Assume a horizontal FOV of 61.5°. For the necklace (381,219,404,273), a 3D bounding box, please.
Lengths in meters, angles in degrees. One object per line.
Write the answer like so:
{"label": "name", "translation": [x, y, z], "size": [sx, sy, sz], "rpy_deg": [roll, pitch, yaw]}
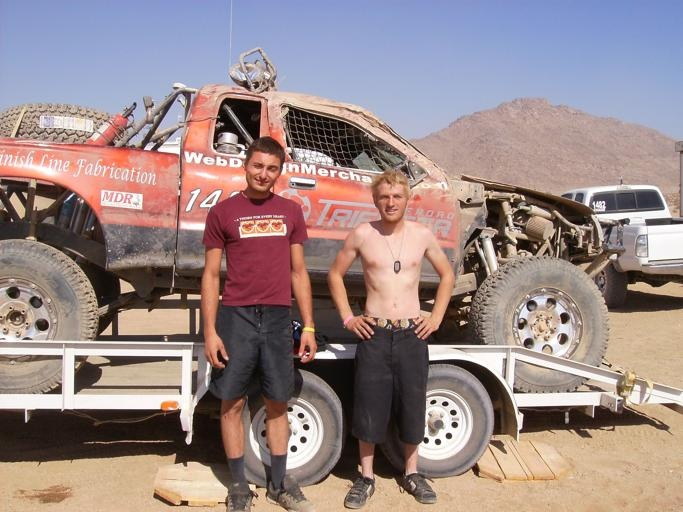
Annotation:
{"label": "necklace", "translation": [0.418, -0.020, 4.495], "size": [0.150, 0.312, 0.121], "rpy_deg": [0, 8, 0]}

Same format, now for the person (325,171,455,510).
{"label": "person", "translation": [0.395, 0.647, 4.521], "size": [0.992, 2.626, 0.507], "rpy_deg": [0, 9, -1]}

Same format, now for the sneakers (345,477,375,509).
{"label": "sneakers", "translation": [0.147, 1.878, 4.558], "size": [0.132, 0.123, 0.329], "rpy_deg": [9, -2, 18]}

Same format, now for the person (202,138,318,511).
{"label": "person", "translation": [-0.633, 0.539, 4.385], "size": [0.840, 2.851, 0.485], "rpy_deg": [0, 9, -4]}

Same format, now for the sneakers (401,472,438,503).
{"label": "sneakers", "translation": [0.632, 1.869, 4.644], "size": [0.129, 0.114, 0.329], "rpy_deg": [0, -1, -27]}

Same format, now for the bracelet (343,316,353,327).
{"label": "bracelet", "translation": [0.070, 0.511, 4.522], "size": [0.085, 0.025, 0.086], "rpy_deg": [-25, -9, -36]}
